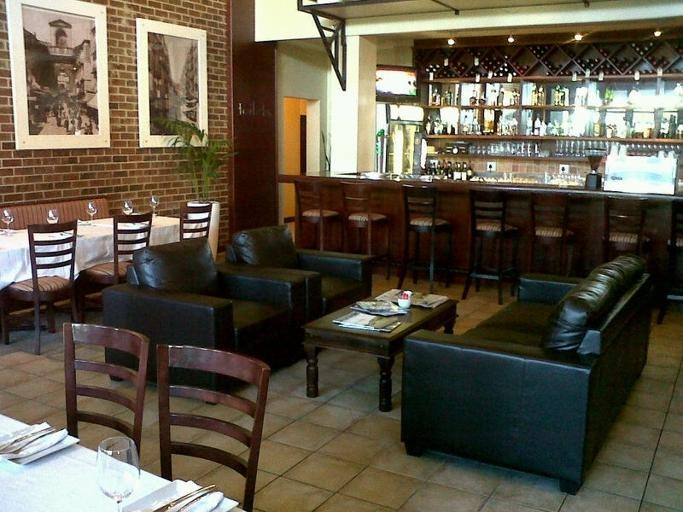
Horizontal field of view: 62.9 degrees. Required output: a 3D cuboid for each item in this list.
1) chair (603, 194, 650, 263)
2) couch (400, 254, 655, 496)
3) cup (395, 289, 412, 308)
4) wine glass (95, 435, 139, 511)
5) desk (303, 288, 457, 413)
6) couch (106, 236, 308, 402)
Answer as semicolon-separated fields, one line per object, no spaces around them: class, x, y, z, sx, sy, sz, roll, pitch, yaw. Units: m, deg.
chair;3.193;-0.289;6.279;0.452;0.793;0.724;8;16;27
couch;1.444;0.586;3.993;1.178;0.853;2.036;4;13;37
cup;0.518;0.352;4.531;0.112;0.122;0.151;1;2;-8
wine glass;-0.617;0.592;1.548;0.104;0.184;0.080;3;15;8
desk;0.218;0.508;4.189;0.832;0.462;1.282;4;9;28
couch;-1.159;0.368;4.730;1.407;1.020;1.454;3;6;29
